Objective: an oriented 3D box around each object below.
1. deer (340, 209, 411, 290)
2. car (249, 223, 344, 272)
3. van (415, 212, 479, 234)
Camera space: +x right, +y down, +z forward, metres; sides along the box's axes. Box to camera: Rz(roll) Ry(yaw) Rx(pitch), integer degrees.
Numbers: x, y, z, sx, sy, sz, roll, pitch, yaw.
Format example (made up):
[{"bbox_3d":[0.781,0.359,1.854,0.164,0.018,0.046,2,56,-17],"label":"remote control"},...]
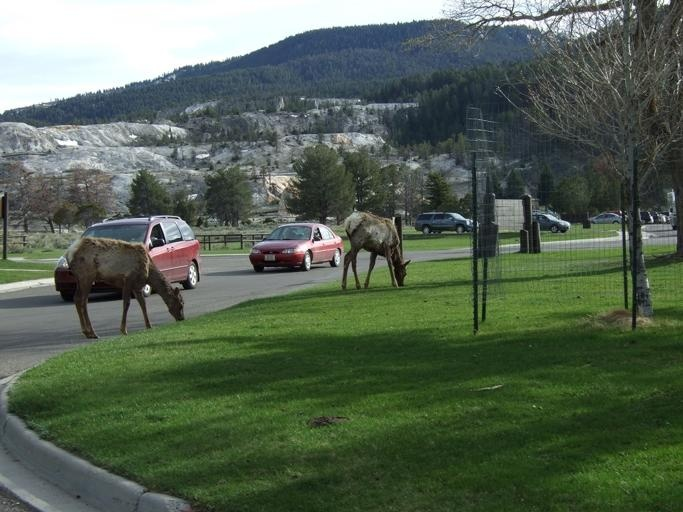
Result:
[{"bbox_3d":[0.881,-0.384,22.343,1.303,2.481,1.617,-1,6,-9],"label":"deer"},{"bbox_3d":[-1.557,-0.297,31.478,2.228,1.941,5.096,-2,0,21],"label":"car"},{"bbox_3d":[9.119,-2.209,73.036,5.056,2.195,2.691,-2,3,28],"label":"van"}]
